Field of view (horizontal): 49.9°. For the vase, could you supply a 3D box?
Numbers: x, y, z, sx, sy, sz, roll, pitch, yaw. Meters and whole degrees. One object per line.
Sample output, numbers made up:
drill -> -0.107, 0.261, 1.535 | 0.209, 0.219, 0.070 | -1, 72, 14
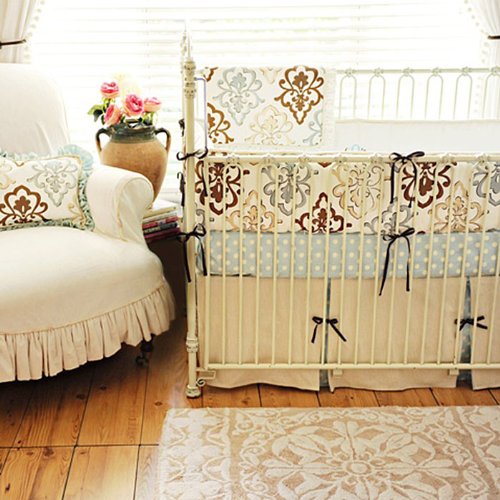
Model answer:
vase -> -0.476, -0.361, 2.243 | 0.353, 0.307, 0.360 | 7, 16, 25

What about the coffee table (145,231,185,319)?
coffee table -> -0.401, 0.128, 2.577 | 0.087, 0.467, 0.456 | -4, 16, -20
